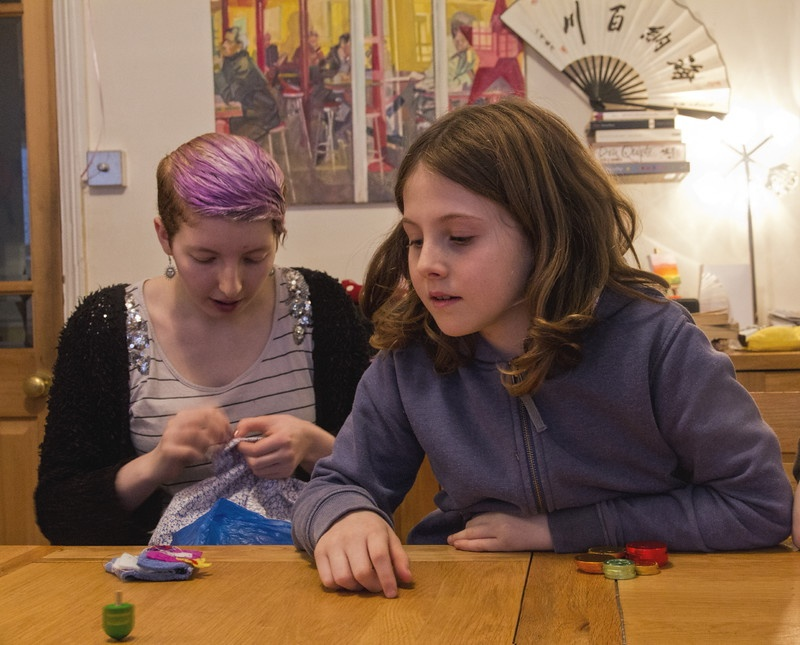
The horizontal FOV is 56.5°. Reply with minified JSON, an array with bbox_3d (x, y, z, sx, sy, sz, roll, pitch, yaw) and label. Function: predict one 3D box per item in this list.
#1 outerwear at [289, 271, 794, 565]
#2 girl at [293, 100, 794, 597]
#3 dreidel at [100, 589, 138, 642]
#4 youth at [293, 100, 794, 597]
[{"bbox_3d":[0.274,0.188,1.188,0.781,0.440,0.454,-7,-3,28],"label":"outerwear"},{"bbox_3d":[0.256,0.077,1.445,0.814,0.802,0.847,2,-5,-37],"label":"girl"},{"bbox_3d":[-0.338,0.354,0.896,0.037,0.047,0.036,-8,11,-30],"label":"dreidel"},{"bbox_3d":[0.248,-0.049,1.452,0.814,0.802,0.847,2,-5,-37],"label":"youth"}]
